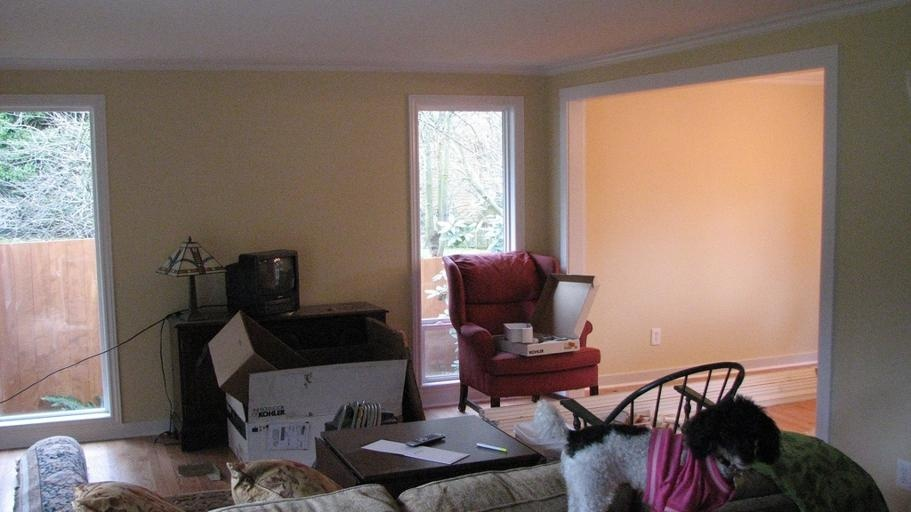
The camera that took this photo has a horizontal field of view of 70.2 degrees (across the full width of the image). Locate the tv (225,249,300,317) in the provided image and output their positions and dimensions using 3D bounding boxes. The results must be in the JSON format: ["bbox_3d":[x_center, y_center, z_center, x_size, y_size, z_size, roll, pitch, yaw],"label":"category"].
[{"bbox_3d":[-1.825,0.257,6.065,0.703,0.515,0.718,1,5,3],"label":"tv"}]

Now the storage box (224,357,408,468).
[{"bbox_3d":[-1.138,1.108,5.381,1.660,0.902,0.830,-1,4,-16],"label":"storage box"}]

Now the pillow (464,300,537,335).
[{"bbox_3d":[0.435,0.586,6.468,0.675,0.383,0.343,0,-2,-15],"label":"pillow"}]

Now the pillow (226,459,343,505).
[{"bbox_3d":[-0.944,1.210,3.482,0.375,0.095,0.350,5,-1,-27],"label":"pillow"}]

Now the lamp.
[{"bbox_3d":[-2.439,0.208,6.012,0.729,0.631,0.679,-1,1,10],"label":"lamp"}]

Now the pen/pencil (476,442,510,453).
[{"bbox_3d":[0.221,1.138,3.845,0.170,0.020,0.026,6,27,20],"label":"pen/pencil"}]
